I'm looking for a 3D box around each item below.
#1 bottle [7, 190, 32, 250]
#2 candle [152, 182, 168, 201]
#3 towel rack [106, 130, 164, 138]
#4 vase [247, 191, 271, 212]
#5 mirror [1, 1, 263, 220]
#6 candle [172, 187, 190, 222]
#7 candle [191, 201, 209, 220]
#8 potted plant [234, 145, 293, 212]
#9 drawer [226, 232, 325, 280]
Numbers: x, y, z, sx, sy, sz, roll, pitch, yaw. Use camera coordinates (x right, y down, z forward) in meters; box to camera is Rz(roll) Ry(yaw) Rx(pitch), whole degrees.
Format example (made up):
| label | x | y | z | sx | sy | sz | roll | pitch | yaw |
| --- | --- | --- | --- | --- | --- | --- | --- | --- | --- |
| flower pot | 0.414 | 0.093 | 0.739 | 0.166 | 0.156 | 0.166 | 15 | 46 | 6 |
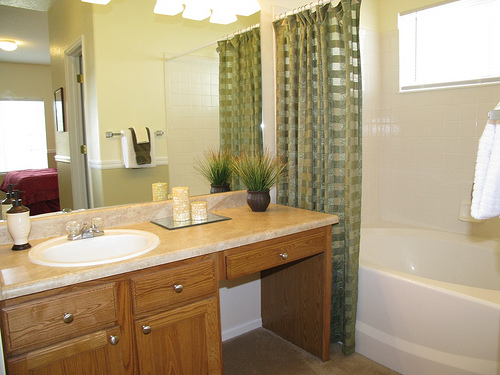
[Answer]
| label | x | y | z | sx | sy | sz | roll | pitch | yaw |
| --- | --- | --- | --- | --- | --- | --- | --- | --- | --- |
| bottle | -1.120 | 0.154 | 1.791 | 0.093 | 0.286 | 0.167 | -11 | 13 | -33 |
| candle | -0.550 | 0.026 | 2.266 | 0.097 | 0.114 | 0.099 | 3 | 5 | 8 |
| towel rack | -0.665 | -0.312 | 2.159 | 0.323 | 0.043 | 0.017 | -9 | 12 | -24 |
| vase | 0.043 | 0.090 | 2.333 | 0.129 | 0.102 | 0.129 | -1 | -3 | 7 |
| mirror | -0.640 | -0.479 | 2.201 | 1.569 | 1.207 | 0.234 | -11 | 13 | -32 |
| candle | -0.415 | 0.101 | 2.226 | 0.106 | 0.190 | 0.107 | -4 | 8 | -10 |
| candle | -0.300 | 0.140 | 2.249 | 0.090 | 0.103 | 0.102 | 0 | 3 | 0 |
| potted plant | 0.083 | -0.080 | 2.572 | 0.312 | 0.420 | 0.438 | 6 | 14 | 40 |
| drawer | 0.171 | 0.375 | 2.073 | 0.697 | 0.156 | 0.028 | -11 | 13 | -33 |
